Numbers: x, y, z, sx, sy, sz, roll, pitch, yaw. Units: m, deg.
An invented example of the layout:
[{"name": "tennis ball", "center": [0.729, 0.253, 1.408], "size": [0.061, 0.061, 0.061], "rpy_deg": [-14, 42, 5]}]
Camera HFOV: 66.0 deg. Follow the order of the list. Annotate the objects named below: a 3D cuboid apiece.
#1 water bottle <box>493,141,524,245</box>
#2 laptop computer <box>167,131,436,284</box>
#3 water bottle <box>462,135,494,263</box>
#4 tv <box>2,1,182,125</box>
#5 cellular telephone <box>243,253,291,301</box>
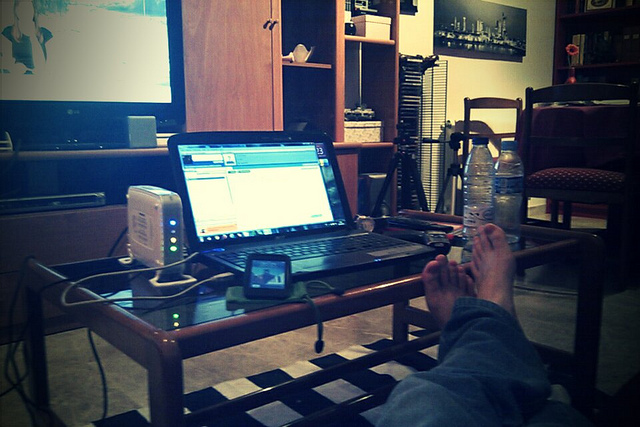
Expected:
[{"name": "water bottle", "center": [0.590, -0.072, 1.550], "size": [0.086, 0.296, 0.358], "rpy_deg": [1, 13, 21]}, {"name": "laptop computer", "center": [-0.071, -0.047, 1.332], "size": [0.550, 0.349, 0.448], "rpy_deg": [-10, 14, -29]}, {"name": "water bottle", "center": [0.492, -0.044, 1.528], "size": [0.111, 0.388, 0.103], "rpy_deg": [0, 4, 0]}, {"name": "tv", "center": [-1.026, -0.660, 2.153], "size": [0.737, 0.453, 0.072], "rpy_deg": [-3, 11, -31]}, {"name": "cellular telephone", "center": [-0.116, 0.136, 1.030], "size": [0.106, 0.089, 0.026], "rpy_deg": [2, -10, 0]}]
